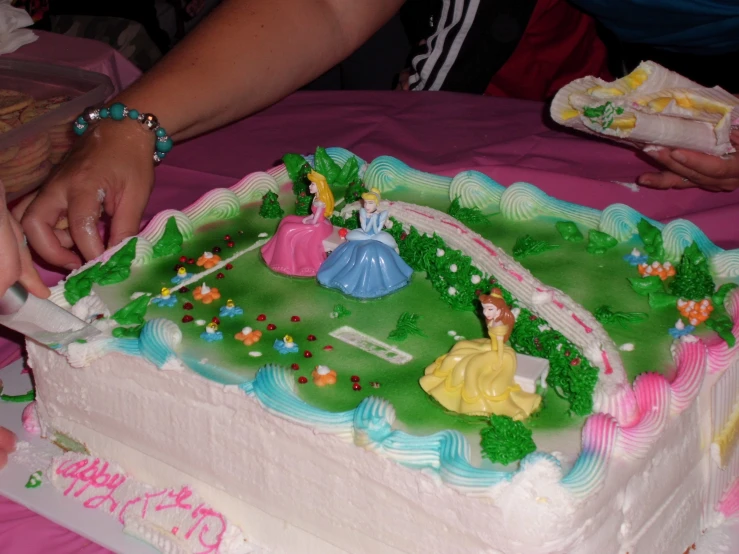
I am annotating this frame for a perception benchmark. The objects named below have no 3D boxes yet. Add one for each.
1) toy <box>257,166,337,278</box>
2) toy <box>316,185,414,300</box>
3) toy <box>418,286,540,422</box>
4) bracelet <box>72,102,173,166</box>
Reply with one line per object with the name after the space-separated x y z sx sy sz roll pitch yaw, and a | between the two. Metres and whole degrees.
-0.489 -0.411 4.136 0.563 0.607 0.633 13 23 -6 | toy
-0.027 -0.253 3.888 0.700 0.571 0.595 -4 32 0 | toy
0.561 0.438 2.849 0.506 0.445 0.538 -33 63 -17 | toy
-1.809 -1.101 4.316 0.646 0.135 0.476 20 39 11 | bracelet
